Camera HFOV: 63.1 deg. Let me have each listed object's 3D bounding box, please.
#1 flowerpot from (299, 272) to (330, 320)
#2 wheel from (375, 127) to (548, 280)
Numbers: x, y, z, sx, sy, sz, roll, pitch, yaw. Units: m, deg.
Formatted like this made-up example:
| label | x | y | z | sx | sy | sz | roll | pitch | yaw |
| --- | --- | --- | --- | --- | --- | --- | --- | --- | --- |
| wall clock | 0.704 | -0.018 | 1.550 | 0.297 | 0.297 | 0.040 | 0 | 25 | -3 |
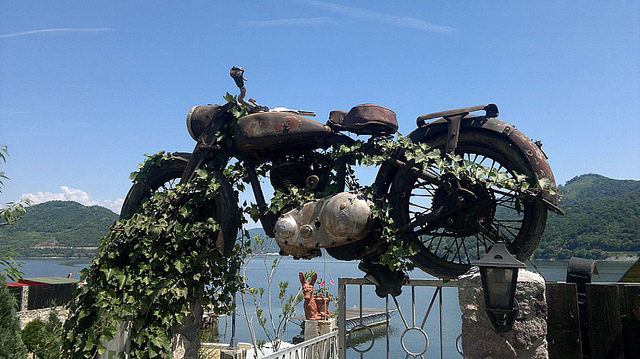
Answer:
| label | x | y | z | sx | sy | sz | roll | pitch | yaw |
| --- | --- | --- | --- | --- | --- | --- | --- | --- | --- |
| flowerpot | -0.164 | 5.655 | 24.295 | 1.143 | 2.269 | 1.614 | -11 | -23 | 39 |
| wheel | 3.047 | 0.561 | 11.271 | 3.246 | 3.280 | 0.758 | -1 | -13 | 12 |
